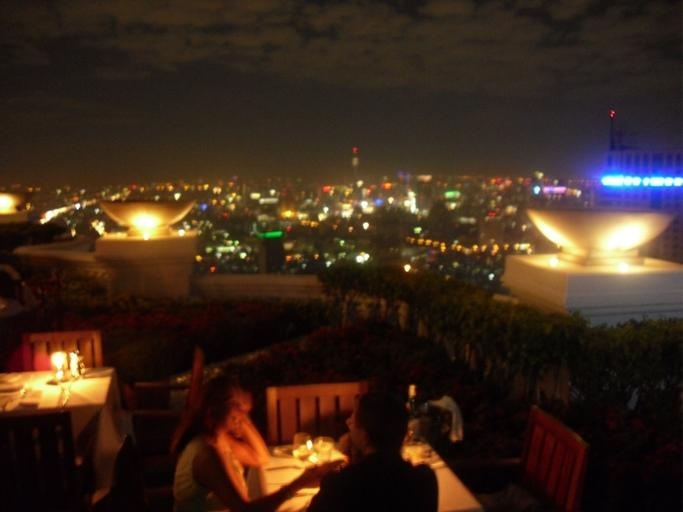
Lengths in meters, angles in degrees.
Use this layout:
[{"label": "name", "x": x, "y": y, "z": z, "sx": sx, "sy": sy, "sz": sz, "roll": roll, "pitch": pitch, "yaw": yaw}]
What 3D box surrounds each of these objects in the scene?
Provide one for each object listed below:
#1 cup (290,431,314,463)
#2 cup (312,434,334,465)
[{"label": "cup", "x": -0.371, "y": 1.740, "z": 6.794, "sx": 0.223, "sy": 0.215, "sz": 0.235, "roll": 2, "pitch": -5, "yaw": 0}, {"label": "cup", "x": -0.142, "y": 1.753, "z": 6.697, "sx": 0.189, "sy": 0.196, "sz": 0.195, "roll": 0, "pitch": -5, "yaw": 0}]
